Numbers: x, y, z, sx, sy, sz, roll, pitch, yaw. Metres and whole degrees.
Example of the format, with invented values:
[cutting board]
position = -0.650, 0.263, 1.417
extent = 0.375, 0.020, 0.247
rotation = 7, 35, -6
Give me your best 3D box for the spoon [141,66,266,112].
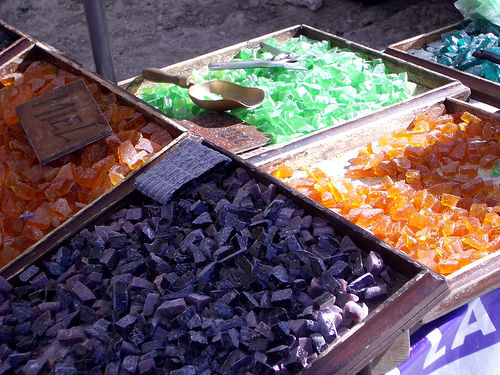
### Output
[spoon]
position = -0.207, -0.441, 1.876
extent = 0.580, 0.097, 0.189
rotation = 20, 43, 28
